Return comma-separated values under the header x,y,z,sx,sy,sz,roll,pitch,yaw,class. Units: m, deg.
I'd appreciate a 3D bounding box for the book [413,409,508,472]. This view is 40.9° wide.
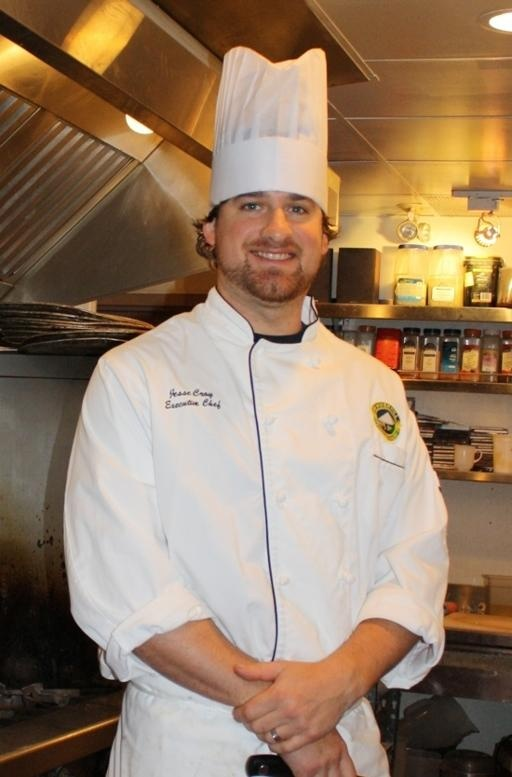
x,y,z,sx,sy,sz,roll,pitch,yaw,class
0.794,0.187,2.711,0.241,0.093,0.327,2,5,31,book

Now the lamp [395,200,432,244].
x,y,z,sx,sy,sz,roll,pitch,yaw,class
0.620,-0.658,2.694,0.109,0.183,0.207,-3,3,28,lamp

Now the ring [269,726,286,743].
x,y,z,sx,sy,sz,roll,pitch,yaw,class
0.024,0.379,0.756,0.016,0.016,0.016,13,-20,5,ring

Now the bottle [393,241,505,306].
x,y,z,sx,sy,sz,roll,pitch,yaw,class
0.730,-0.433,2.625,0.319,0.177,0.097,2,-2,5,bottle

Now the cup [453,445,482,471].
x,y,z,sx,sy,sz,roll,pitch,yaw,class
0.802,0.259,2.624,0.094,0.095,0.201,-1,2,20,cup
